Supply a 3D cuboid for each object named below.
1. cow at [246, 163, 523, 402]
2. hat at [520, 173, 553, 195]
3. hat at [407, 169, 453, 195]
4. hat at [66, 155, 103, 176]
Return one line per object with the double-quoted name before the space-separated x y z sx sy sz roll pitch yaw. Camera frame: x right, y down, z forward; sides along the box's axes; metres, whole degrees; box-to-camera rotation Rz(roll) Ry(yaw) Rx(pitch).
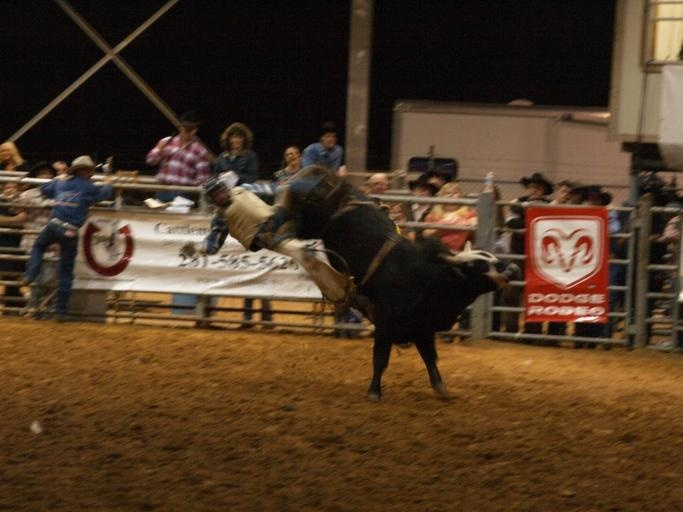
"cow" 0.349 0.266 6.515 2.194 2.125 0.636 4 12 8
"hat" 2.685 -0.976 9.671 0.463 0.142 0.420 15 -17 15
"hat" 1.194 -1.053 9.874 0.478 0.180 0.620 -1 5 29
"hat" -3.335 -1.187 9.344 0.411 0.077 0.329 -1 -6 -3
